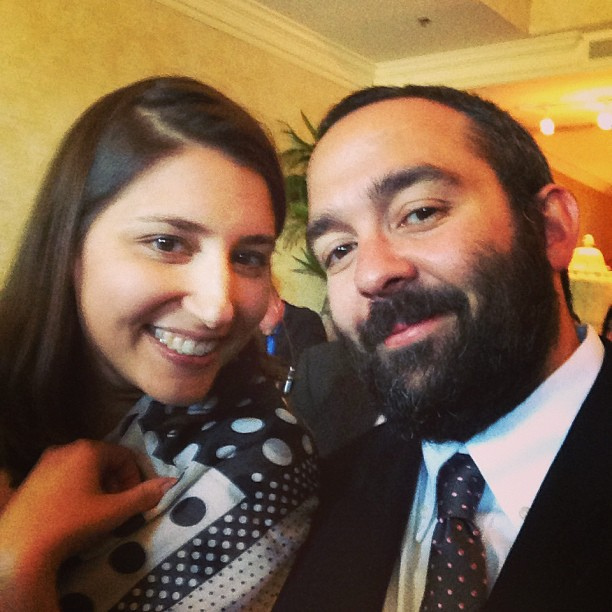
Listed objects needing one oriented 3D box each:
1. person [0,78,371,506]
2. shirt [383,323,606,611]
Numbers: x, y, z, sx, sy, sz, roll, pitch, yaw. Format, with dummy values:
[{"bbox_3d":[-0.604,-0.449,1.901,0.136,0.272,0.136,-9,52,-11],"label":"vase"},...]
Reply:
[{"bbox_3d":[-0.358,-0.042,1.752,0.890,1.095,0.374,-8,11,-28],"label":"person"},{"bbox_3d":[0.593,0.330,1.888,0.343,0.993,0.186,28,-2,22],"label":"shirt"}]
